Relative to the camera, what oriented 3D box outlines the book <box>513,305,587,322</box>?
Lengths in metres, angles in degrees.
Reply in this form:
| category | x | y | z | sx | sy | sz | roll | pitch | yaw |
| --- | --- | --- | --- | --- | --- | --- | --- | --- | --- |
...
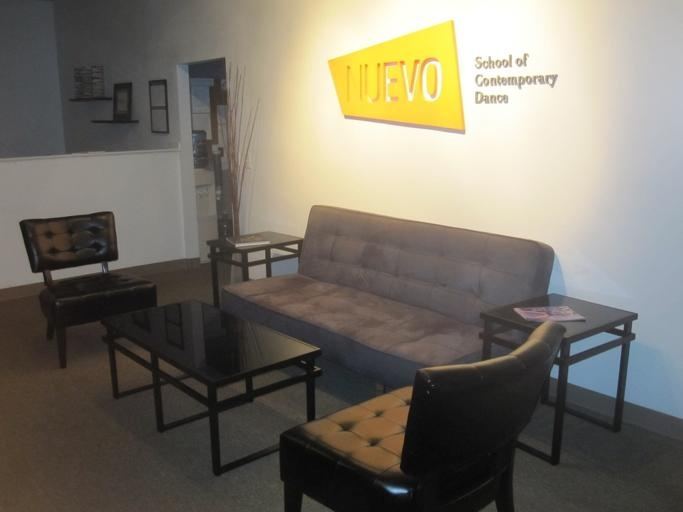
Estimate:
| category | x | y | z | sx | sy | sz | roll | pitch | yaw |
| --- | --- | --- | --- | --- | --- | --- | --- | --- | --- |
| book | 1.119 | 0.310 | 2.803 | 0.351 | 0.036 | 0.224 | -4 | 15 | -9 |

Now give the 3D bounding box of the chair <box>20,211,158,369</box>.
| category | x | y | z | sx | sy | sz | roll | pitch | yaw |
| --- | --- | --- | --- | --- | --- | --- | --- | --- | --- |
| chair | -2.018 | 0.199 | 4.117 | 0.847 | 0.962 | 0.712 | 18 | 22 | 41 |

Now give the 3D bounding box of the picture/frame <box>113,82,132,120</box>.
| category | x | y | z | sx | sy | sz | roll | pitch | yaw |
| --- | --- | --- | --- | --- | --- | --- | --- | --- | --- |
| picture/frame | -2.845 | -2.026 | 6.770 | 0.435 | 0.606 | 0.045 | 13 | 14 | 41 |

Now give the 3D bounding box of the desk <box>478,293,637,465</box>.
| category | x | y | z | sx | sy | sz | roll | pitch | yaw |
| --- | --- | --- | --- | --- | --- | --- | --- | --- | --- |
| desk | 1.158 | 0.555 | 3.098 | 0.892 | 0.897 | 0.817 | -10 | 16 | -33 |
